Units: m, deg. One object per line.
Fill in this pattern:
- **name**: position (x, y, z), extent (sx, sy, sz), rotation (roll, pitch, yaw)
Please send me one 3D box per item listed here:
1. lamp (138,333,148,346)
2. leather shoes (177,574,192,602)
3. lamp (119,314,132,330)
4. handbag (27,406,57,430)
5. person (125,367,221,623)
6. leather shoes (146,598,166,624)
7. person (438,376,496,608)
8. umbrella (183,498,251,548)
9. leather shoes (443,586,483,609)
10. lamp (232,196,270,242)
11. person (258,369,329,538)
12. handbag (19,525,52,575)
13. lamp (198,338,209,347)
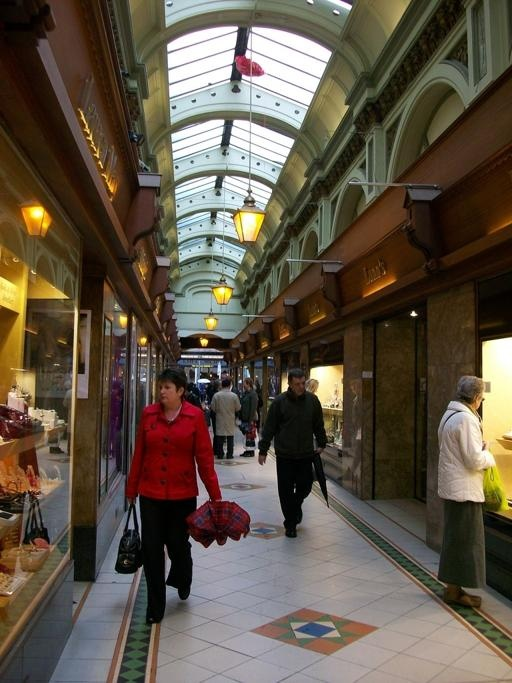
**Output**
- **lamp**: position (-2.398, -0.036, 8.987), extent (0.238, 0.266, 0.254), rotation (0, -9, -2)
- **leather shoes**: position (-0.503, 1.760, 2.997), extent (0.079, 0.267, 0.106), rotation (0, -19, 4)
- **lamp**: position (-1.692, -0.258, 5.435), extent (0.193, 0.221, 0.183), rotation (2, -10, -18)
- **handbag**: position (-1.079, 0.389, 2.145), extent (0.118, 0.095, 0.097), rotation (1, 2, -15)
- **person**: position (-0.500, 0.980, 2.754), extent (0.558, 1.558, 0.591), rotation (-5, -13, 24)
- **leather shoes**: position (-0.620, 1.675, 2.630), extent (0.110, 0.143, 0.118), rotation (4, -12, -17)
- **person**: position (1.462, 1.053, 2.957), extent (0.413, 1.591, 0.435), rotation (-4, -12, 23)
- **umbrella**: position (-0.241, 1.139, 2.622), extent (0.139, 0.289, 0.361), rotation (-39, -29, 30)
- **leather shoes**: position (1.459, 1.821, 2.976), extent (0.237, 0.106, 0.134), rotation (-1, 2, 8)
- **lamp**: position (-0.109, -2.165, 7.153), extent (0.470, 0.921, 0.603), rotation (1, -12, -4)
- **person**: position (0.417, 1.288, 4.848), extent (0.759, 1.870, 0.696), rotation (-1, -12, 7)
- **handbag**: position (-0.928, 0.880, 1.782), extent (0.117, 0.064, 0.183), rotation (1, 3, -7)
- **lamp**: position (-3.635, -0.018, 29.594), extent (0.634, 0.823, 0.638), rotation (1, -12, -3)
